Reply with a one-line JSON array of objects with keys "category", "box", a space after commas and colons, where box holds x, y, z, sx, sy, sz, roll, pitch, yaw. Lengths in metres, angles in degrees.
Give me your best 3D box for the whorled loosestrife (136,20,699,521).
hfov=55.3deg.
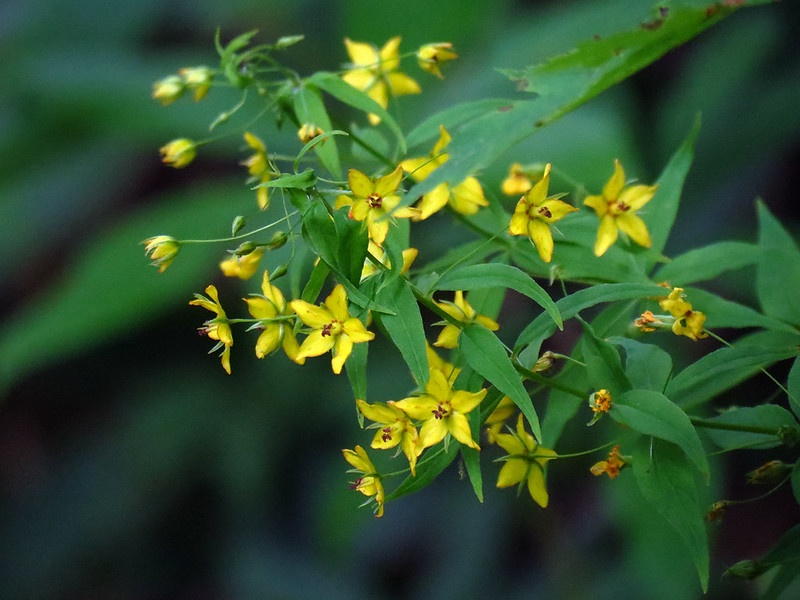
[{"category": "whorled loosestrife", "box": [0.062, -0.045, 1.469, 0.995, 0.953, 0.674, -3, 3, 15]}]
